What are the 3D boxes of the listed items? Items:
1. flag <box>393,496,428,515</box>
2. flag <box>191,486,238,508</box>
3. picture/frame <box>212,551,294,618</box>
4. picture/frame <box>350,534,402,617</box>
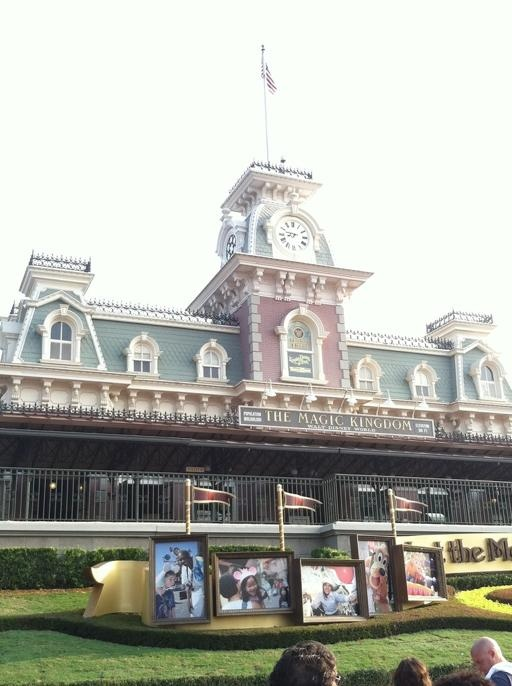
[{"bbox_3d":[4.731,4.981,18.463,1.017,0.481,3.991,-7,-18,14],"label":"flag"},{"bbox_3d":[-0.844,3.547,13.918,1.541,0.400,1.031,9,-12,-41],"label":"flag"},{"bbox_3d":[-0.087,4.742,11.715,1.374,0.929,0.147,4,-23,-18],"label":"picture/frame"},{"bbox_3d":[2.559,5.071,12.960,0.575,1.645,1.506,-23,-27,39],"label":"picture/frame"}]
